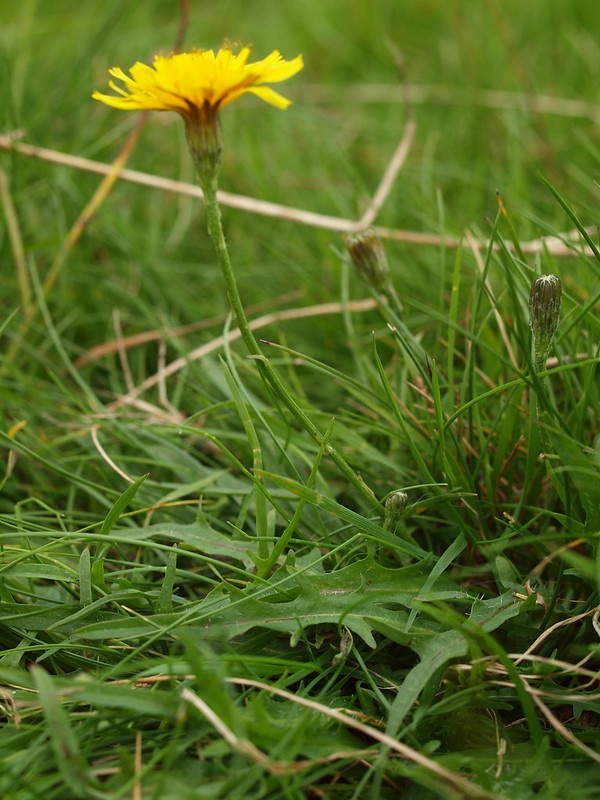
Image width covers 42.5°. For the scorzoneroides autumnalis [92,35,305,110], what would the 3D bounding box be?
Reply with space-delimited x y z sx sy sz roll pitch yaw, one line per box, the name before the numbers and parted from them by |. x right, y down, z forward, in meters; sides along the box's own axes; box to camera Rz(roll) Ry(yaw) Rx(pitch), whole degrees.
scorzoneroides autumnalis | -0.103 -0.293 0.737 0.165 0.046 0.145 -8 13 21
